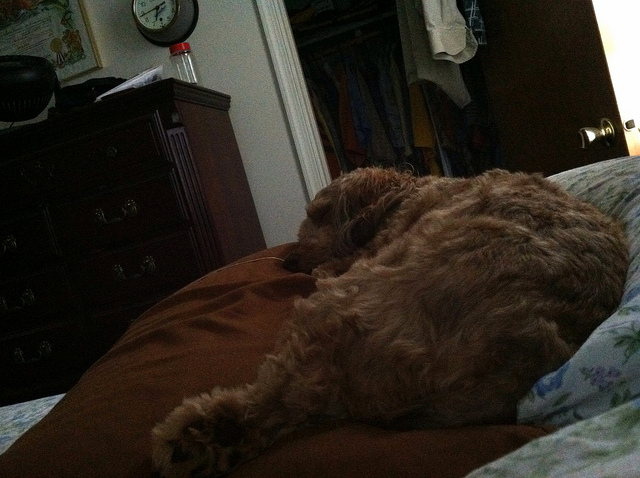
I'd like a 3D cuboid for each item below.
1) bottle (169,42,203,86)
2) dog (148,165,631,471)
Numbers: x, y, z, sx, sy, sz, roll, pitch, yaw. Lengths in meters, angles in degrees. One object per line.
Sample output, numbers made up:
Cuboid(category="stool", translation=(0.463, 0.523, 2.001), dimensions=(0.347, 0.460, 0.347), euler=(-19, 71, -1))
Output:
Cuboid(category="bottle", translation=(-0.621, -0.802, 2.341), dimensions=(0.105, 0.181, 0.125), euler=(-15, 5, -12))
Cuboid(category="dog", translation=(0.103, 0.061, 0.817), dimensions=(0.678, 0.276, 0.436), euler=(-13, 5, 2))
